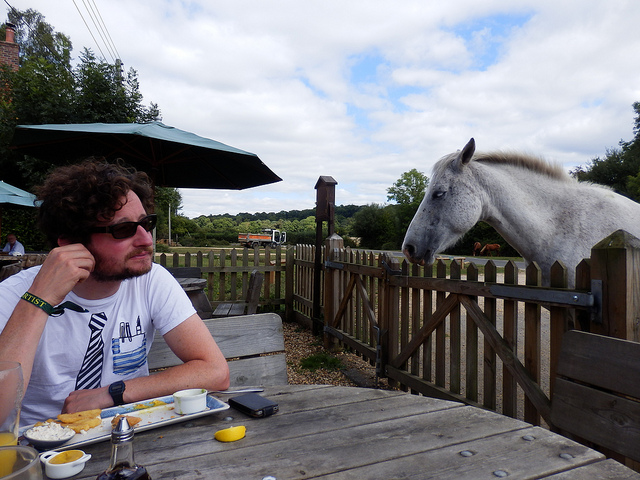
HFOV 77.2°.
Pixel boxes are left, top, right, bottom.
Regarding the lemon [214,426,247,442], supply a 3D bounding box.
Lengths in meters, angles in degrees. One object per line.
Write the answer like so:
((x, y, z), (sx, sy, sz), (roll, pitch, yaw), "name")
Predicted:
((-0.360, 0.785, 1.645), (0.140, 0.047, 0.075), (1, 1, -29), "lemon")

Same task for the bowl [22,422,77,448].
((-1.068, 0.762, 1.570), (0.172, 0.063, 0.108), (2, 1, 5), "bowl")

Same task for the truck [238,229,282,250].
((-6.728, -0.191, 40.961), (5.376, 2.836, 2.986), (-1, 2, -5), "truck")
